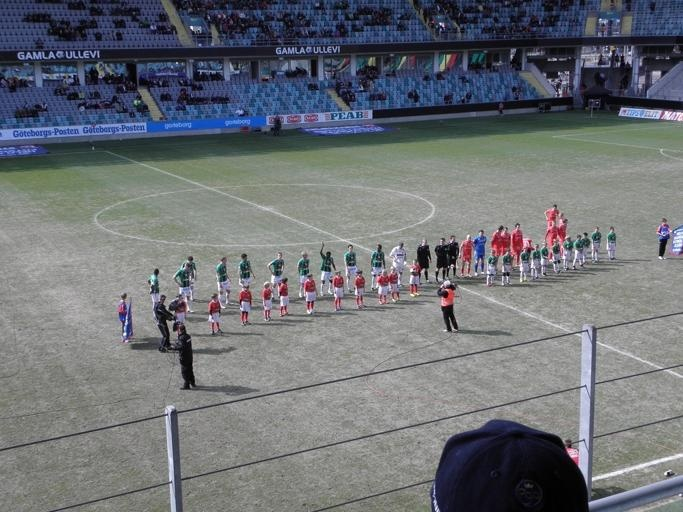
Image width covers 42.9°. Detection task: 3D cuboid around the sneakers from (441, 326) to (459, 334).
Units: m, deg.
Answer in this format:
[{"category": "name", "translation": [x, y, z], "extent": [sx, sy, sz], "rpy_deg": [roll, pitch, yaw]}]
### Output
[{"category": "sneakers", "translation": [3.261, 2.234, 25.988], "extent": [0.183, 0.153, 0.472], "rpy_deg": [-5, 10, -29]}]

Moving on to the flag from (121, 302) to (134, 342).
[{"category": "flag", "translation": [-6.473, 1.953, 25.688], "extent": [0.377, 1.077, 0.778], "rpy_deg": [-9, 17, -14]}]

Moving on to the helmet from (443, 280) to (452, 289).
[{"category": "helmet", "translation": [3.195, 0.895, 25.987], "extent": [0.225, 0.210, 0.221], "rpy_deg": [16, 39, -12]}]

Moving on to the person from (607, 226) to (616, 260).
[{"category": "person", "translation": [10.256, -0.472, 32.729], "extent": [0.306, 1.149, 0.782], "rpy_deg": [0, 17, 15]}]

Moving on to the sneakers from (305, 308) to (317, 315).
[{"category": "sneakers", "translation": [-1.037, 1.801, 27.986], "extent": [0.263, 0.086, 0.320], "rpy_deg": [3, 6, -15]}]
